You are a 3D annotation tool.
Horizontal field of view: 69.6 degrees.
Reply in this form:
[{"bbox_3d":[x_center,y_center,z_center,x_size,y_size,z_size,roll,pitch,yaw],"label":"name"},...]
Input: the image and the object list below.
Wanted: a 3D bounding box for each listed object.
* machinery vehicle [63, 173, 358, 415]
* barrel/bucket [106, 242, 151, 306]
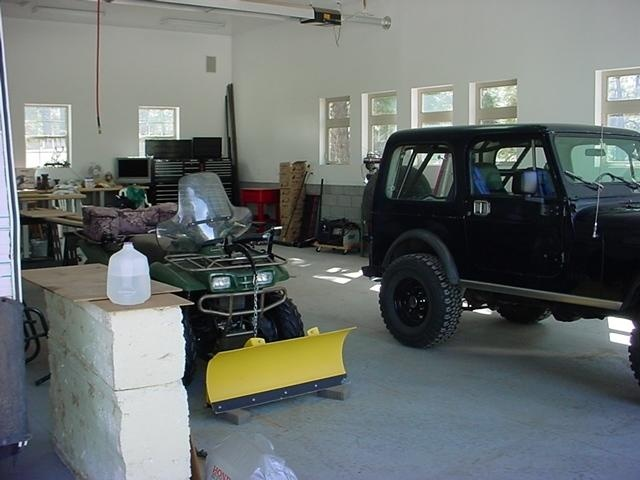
[{"bbox_3d":[-0.668,0.300,3.730,1.269,1.686,1.640,-4,10,-29],"label":"machinery vehicle"},{"bbox_3d":[-0.969,0.155,2.318,0.239,0.275,0.213,2,5,-19],"label":"barrel/bucket"}]
